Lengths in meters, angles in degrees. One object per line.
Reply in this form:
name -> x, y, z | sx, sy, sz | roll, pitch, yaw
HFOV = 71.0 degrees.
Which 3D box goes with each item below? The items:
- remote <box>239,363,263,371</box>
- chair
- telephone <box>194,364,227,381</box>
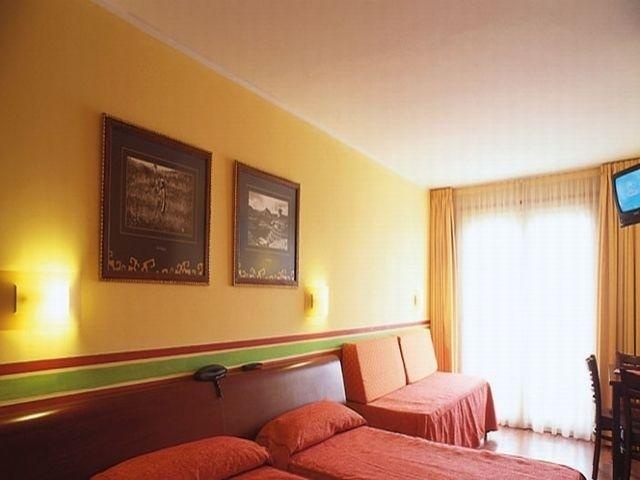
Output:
remote -> -0.589, 1.099, 3.910 | 0.071, 0.039, 0.120 | -9, -8, 43
chair -> 3.179, 1.869, 4.798 | 0.530, 1.277, 1.628 | -5, -7, 30
telephone -> -0.854, 1.038, 3.516 | 0.173, 0.046, 0.121 | 13, 9, -34
